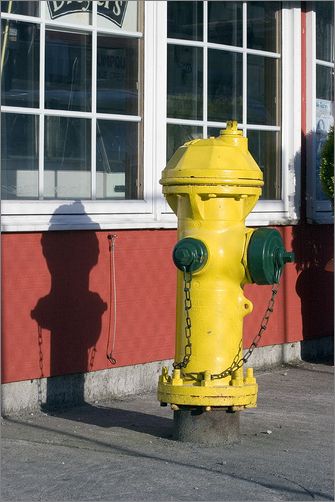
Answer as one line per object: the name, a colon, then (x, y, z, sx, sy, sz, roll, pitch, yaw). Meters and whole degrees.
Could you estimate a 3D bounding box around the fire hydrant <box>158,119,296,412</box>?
fire hydrant: (0.302, 0.081, 7.092, 0.696, 1.641, 0.480, 1, 4, -2)
